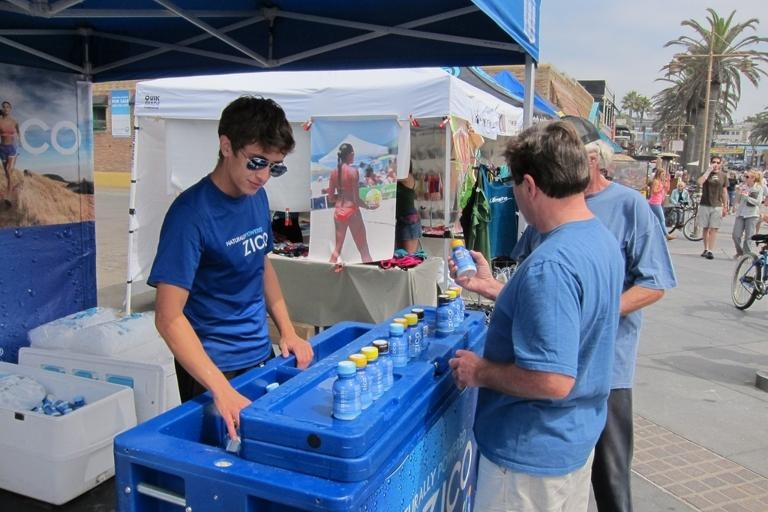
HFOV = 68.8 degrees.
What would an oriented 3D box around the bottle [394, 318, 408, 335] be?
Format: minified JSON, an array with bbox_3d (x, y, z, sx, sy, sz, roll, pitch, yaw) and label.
[{"bbox_3d":[0.102,0.402,3.248,0.066,0.063,0.066,4,12,18],"label":"bottle"}]

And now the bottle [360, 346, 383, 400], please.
[{"bbox_3d":[-0.065,0.599,2.906,0.147,0.235,0.142,-2,0,0],"label":"bottle"}]

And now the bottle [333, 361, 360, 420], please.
[{"bbox_3d":[-0.170,0.645,2.709,0.123,0.256,0.143,5,10,27],"label":"bottle"}]

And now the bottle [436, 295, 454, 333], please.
[{"bbox_3d":[0.399,0.373,3.635,0.145,0.222,0.141,-3,13,1],"label":"bottle"}]

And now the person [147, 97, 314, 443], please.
[{"bbox_3d":[-0.868,-0.065,3.263,0.614,1.681,0.801,6,10,31],"label":"person"}]

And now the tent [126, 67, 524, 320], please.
[{"bbox_3d":[-1.001,-0.618,7.957,3.702,2.467,3.717,4,10,22],"label":"tent"}]
